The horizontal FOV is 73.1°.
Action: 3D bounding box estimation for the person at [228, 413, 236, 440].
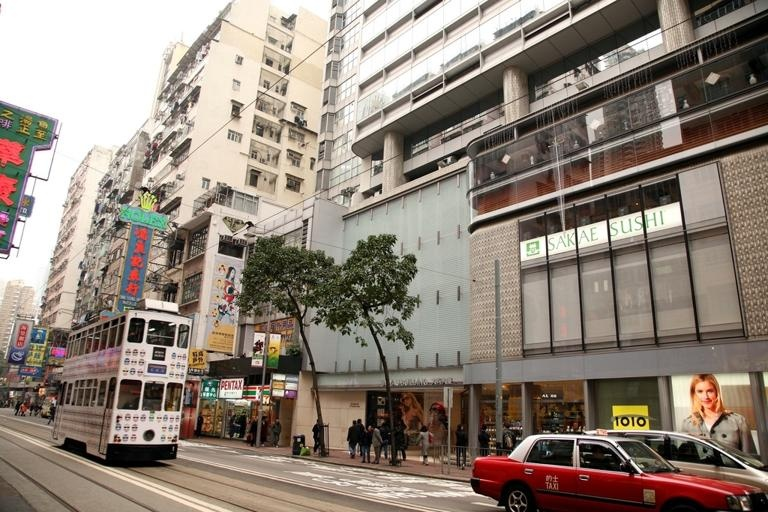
[{"bbox_3d":[-12.522,14.012,42.894,0.415,2.097,1.492,6,-20,-18],"label":"person"}]
